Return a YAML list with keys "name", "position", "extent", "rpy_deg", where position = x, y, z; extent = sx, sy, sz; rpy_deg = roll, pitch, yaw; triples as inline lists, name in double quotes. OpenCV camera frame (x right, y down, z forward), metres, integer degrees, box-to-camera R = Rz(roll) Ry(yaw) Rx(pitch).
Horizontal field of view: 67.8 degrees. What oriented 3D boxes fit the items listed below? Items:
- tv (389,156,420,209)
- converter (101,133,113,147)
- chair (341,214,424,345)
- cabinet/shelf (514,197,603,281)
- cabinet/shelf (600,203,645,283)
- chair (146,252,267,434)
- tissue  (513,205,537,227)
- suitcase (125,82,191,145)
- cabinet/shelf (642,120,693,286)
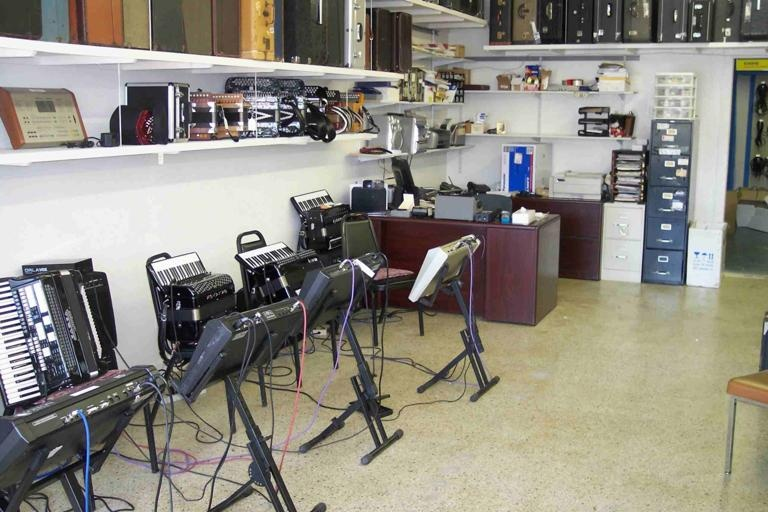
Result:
- name: "tv"
  position: [0.300, -0.918, 6.823]
  extent: [0.404, 0.763, 0.447]
  rpy_deg: [-2, 23, -2]
- name: "converter"
  position: [-1.828, -0.769, 3.769]
  extent: [0.085, 0.083, 0.075]
  rpy_deg: [4, 6, 42]
- name: "chair"
  position: [-0.068, 0.180, 5.761]
  extent: [0.636, 1.204, 0.719]
  rpy_deg: [8, 7, 44]
- name: "cabinet/shelf"
  position: [2.126, -0.228, 6.861]
  extent: [1.005, 0.961, 0.337]
  rpy_deg: [3, 9, 24]
- name: "cabinet/shelf"
  position: [3.312, -0.217, 7.771]
  extent: [0.610, 1.057, 0.655]
  rpy_deg: [4, 14, 30]
- name: "chair"
  position: [-1.300, 0.595, 4.318]
  extent: [0.860, 1.185, 0.847]
  rpy_deg: [-5, 8, -25]
- name: "tissue "
  position: [1.464, -0.451, 5.965]
  extent: [0.172, 0.149, 0.329]
  rpy_deg: [5, 12, 29]
- name: "suitcase"
  position: [-1.606, -0.997, 4.099]
  extent: [0.404, 0.420, 0.316]
  rpy_deg: [3, 9, 10]
- name: "cabinet/shelf"
  position: [3.898, -0.751, 7.594]
  extent: [0.705, 2.170, 0.553]
  rpy_deg: [-11, 15, -39]
